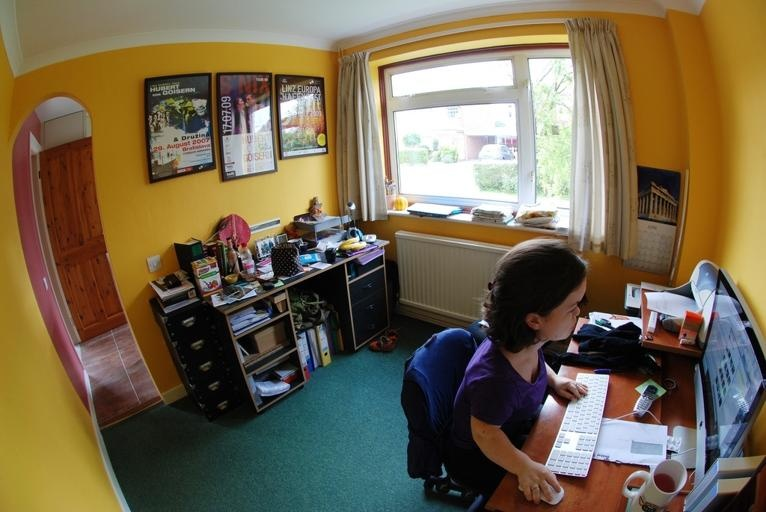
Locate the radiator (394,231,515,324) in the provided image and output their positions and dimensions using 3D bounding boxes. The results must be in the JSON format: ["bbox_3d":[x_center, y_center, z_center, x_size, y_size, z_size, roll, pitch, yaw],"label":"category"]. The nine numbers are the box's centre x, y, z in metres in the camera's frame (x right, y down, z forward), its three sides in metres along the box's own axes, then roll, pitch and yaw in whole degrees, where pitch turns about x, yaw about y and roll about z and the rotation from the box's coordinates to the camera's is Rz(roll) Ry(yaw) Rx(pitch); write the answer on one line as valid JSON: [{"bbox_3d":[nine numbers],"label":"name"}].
[{"bbox_3d":[0.630,0.143,4.458,0.842,0.619,0.089,9,20,32],"label":"radiator"}]

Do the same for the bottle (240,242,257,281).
[{"bbox_3d":[-1.165,0.039,4.370,0.134,0.257,0.321,-9,15,-17],"label":"bottle"}]

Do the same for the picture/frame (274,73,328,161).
[{"bbox_3d":[-0.779,-1.316,4.729,0.031,0.851,0.722,11,19,37],"label":"picture/frame"}]

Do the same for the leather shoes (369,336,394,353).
[{"bbox_3d":[-0.009,0.826,4.844,0.191,0.083,0.125,1,24,-2],"label":"leather shoes"}]

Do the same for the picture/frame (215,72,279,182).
[{"bbox_3d":[-1.193,-1.148,4.397,0.040,1.137,0.784,12,20,41],"label":"picture/frame"}]

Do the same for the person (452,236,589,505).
[{"bbox_3d":[0.800,0.625,2.759,0.749,1.415,0.615,-11,16,-25],"label":"person"}]

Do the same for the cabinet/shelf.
[{"bbox_3d":[-1.518,0.827,4.142,0.671,1.006,0.323,-1,15,13],"label":"cabinet/shelf"}]

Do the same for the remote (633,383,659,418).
[{"bbox_3d":[1.536,0.808,2.976,0.082,0.059,0.288,18,43,37],"label":"remote"}]

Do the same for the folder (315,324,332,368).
[{"bbox_3d":[-0.542,0.802,4.641,0.090,0.317,0.227,-8,9,33],"label":"folder"}]

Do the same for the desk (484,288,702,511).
[{"bbox_3d":[1.171,0.809,2.697,0.782,0.301,1.315,11,47,23],"label":"desk"}]

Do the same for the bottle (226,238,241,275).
[{"bbox_3d":[-1.274,-0.009,4.361,0.100,0.271,0.250,-8,15,-16],"label":"bottle"}]

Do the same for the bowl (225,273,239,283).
[{"bbox_3d":[-1.263,0.175,4.256,0.068,0.035,0.084,11,32,38],"label":"bowl"}]

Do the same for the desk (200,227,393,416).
[{"bbox_3d":[-0.794,0.586,4.402,0.451,0.831,1.299,11,31,37],"label":"desk"}]

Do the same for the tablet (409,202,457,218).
[{"bbox_3d":[0.508,-0.456,4.985,0.505,0.107,0.295,6,18,33],"label":"tablet"}]

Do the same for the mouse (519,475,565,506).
[{"bbox_3d":[0.815,1.183,2.595,0.169,0.045,0.102,9,43,36],"label":"mouse"}]

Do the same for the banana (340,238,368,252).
[{"bbox_3d":[-0.280,-0.110,4.673,0.179,0.073,0.129,-12,21,-13],"label":"banana"}]
